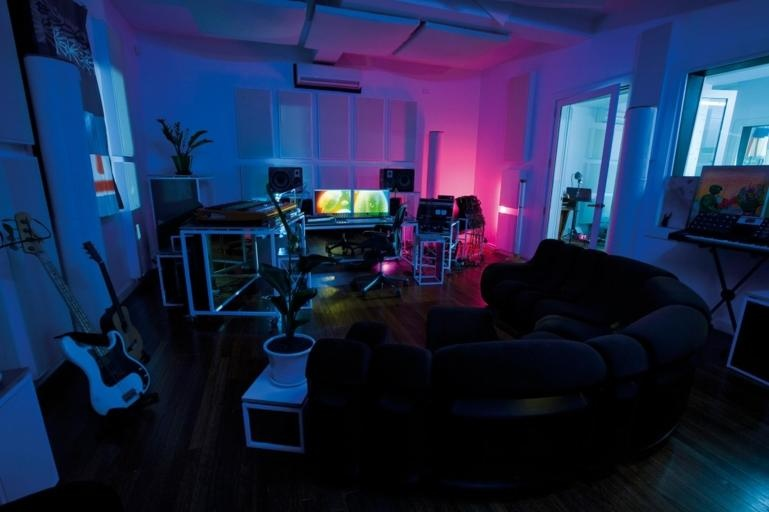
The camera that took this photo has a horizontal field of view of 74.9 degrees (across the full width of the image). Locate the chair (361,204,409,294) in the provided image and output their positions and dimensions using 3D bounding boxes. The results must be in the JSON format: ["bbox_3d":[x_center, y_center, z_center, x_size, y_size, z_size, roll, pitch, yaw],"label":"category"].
[{"bbox_3d":[-0.034,-0.114,6.770,0.677,1.087,0.723,0,-6,-2],"label":"chair"}]

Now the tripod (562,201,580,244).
[{"bbox_3d":[3.435,-0.664,9.263,0.256,0.811,0.902,4,15,20],"label":"tripod"}]

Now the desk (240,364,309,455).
[{"bbox_3d":[-0.862,1.315,4.283,0.570,0.467,0.788,2,11,3],"label":"desk"}]

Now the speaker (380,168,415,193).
[{"bbox_3d":[0.181,-1.212,8.075,0.685,0.458,0.361,-2,11,-18],"label":"speaker"}]

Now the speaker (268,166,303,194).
[{"bbox_3d":[-1.421,-1.082,7.207,0.458,0.377,0.459,-5,15,-14],"label":"speaker"}]

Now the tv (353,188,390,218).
[{"bbox_3d":[-0.210,-0.760,7.346,0.460,0.293,0.008,-2,9,-16],"label":"tv"}]

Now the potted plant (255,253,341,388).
[{"bbox_3d":[-0.848,0.542,4.363,0.797,1.110,0.580,-1,-5,4],"label":"potted plant"}]

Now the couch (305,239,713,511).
[{"bbox_3d":[1.346,1.159,4.820,3.541,1.057,2.265,-6,9,-45],"label":"couch"}]

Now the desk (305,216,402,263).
[{"bbox_3d":[-0.555,-0.167,7.846,0.874,0.702,1.508,-4,-7,-38],"label":"desk"}]

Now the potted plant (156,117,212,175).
[{"bbox_3d":[-2.860,-1.607,7.310,0.722,0.795,0.795,-7,16,-23],"label":"potted plant"}]

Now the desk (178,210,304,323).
[{"bbox_3d":[-1.813,0.099,6.055,1.022,1.150,1.721,-2,1,-17],"label":"desk"}]
